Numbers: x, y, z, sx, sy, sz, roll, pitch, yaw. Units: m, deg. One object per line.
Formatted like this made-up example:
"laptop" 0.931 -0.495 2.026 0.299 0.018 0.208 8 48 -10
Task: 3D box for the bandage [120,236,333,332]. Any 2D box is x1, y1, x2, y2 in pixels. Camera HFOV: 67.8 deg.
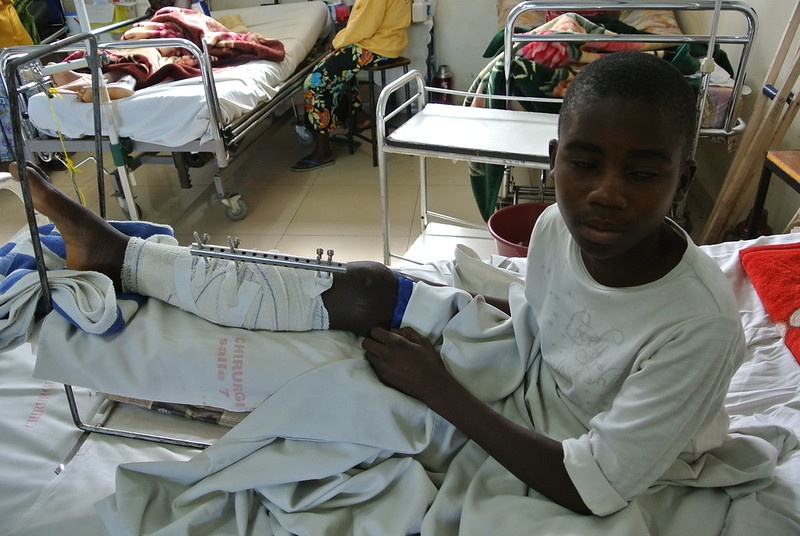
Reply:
"bandage" -0.502 0.061 1.816 0.628 0.211 0.206 7 15 -3

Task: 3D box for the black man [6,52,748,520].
"black man" -0.065 -0.042 1.735 2.036 1.111 0.945 9 23 7

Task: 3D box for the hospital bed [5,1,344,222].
"hospital bed" -1.114 -1.069 3.842 1.046 0.826 1.897 5 37 10
